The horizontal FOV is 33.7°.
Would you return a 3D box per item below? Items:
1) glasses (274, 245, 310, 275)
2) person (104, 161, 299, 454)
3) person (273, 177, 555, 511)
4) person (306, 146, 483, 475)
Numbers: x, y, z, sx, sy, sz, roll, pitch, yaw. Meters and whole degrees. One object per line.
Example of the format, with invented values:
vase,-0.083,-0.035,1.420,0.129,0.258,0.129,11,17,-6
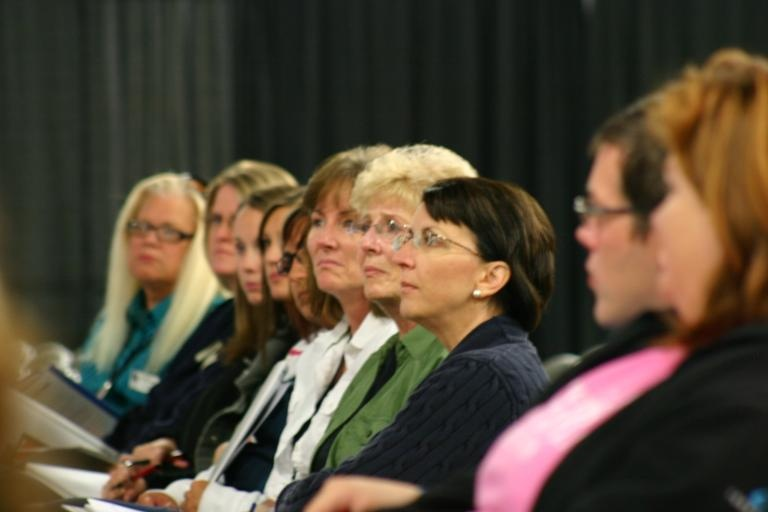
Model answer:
glasses,-0.407,0.018,5.554,0.113,0.122,0.037,-26,51,11
person,-0.913,0.278,6.361,1.311,0.934,0.447,-63,5,-10
person,0.196,0.373,5.205,1.137,1.502,0.982,3,-7,-1
person,0.054,0.223,4.847,0.537,1.414,1.051,8,-9,-12
